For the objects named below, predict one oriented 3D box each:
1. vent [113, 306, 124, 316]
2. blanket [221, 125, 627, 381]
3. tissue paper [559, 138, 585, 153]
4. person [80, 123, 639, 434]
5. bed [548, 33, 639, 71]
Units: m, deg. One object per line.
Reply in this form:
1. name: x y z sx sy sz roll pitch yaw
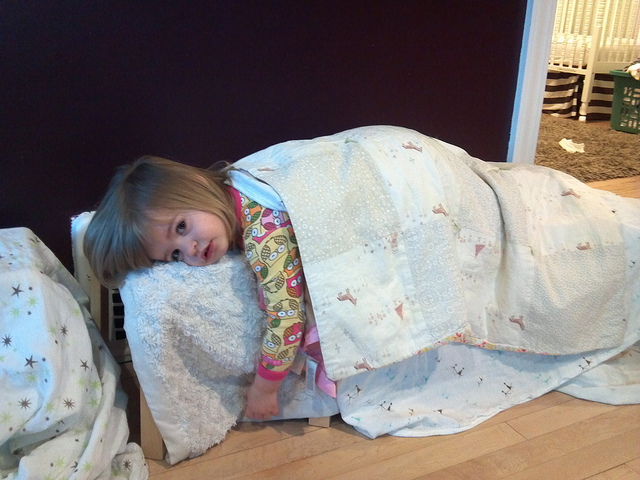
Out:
1. vent: -0.616 0.219 1.693 0.028 0.031 0.029 0 -5 12
2. blanket: 0.342 0.128 1.556 0.911 0.299 0.680 -11 45 -21
3. tissue paper: 1.428 -0.536 3.148 0.113 0.042 0.095 -3 53 -7
4. person: 0.262 0.132 1.652 1.135 0.982 0.373 -8 -13 -1
5. bed: 1.855 -1.268 3.692 0.537 0.163 0.561 -5 26 -14
